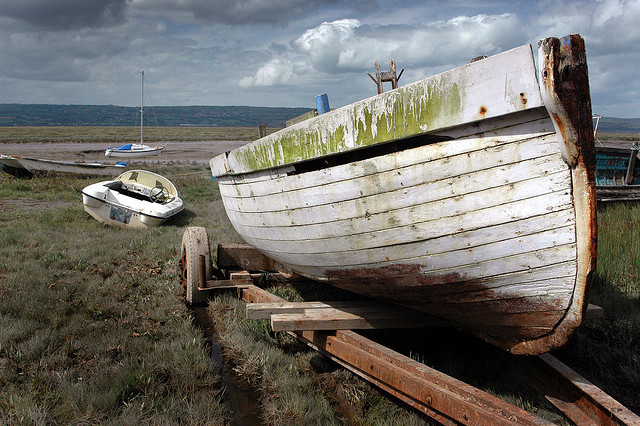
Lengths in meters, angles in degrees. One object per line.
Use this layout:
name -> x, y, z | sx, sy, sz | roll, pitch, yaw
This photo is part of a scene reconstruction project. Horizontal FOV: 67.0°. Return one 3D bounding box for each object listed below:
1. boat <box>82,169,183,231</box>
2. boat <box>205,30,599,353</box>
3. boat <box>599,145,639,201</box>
boat -> -4.357, -0.073, 10.743 | 1.823, 0.939, 2.395 | 19, -11, -18
boat -> 0.568, -0.235, 6.179 | 2.236, 2.429, 5.829 | -7, 3, -35
boat -> 7.065, -0.941, 11.370 | 0.798, 0.510, 1.206 | -3, 54, 24
